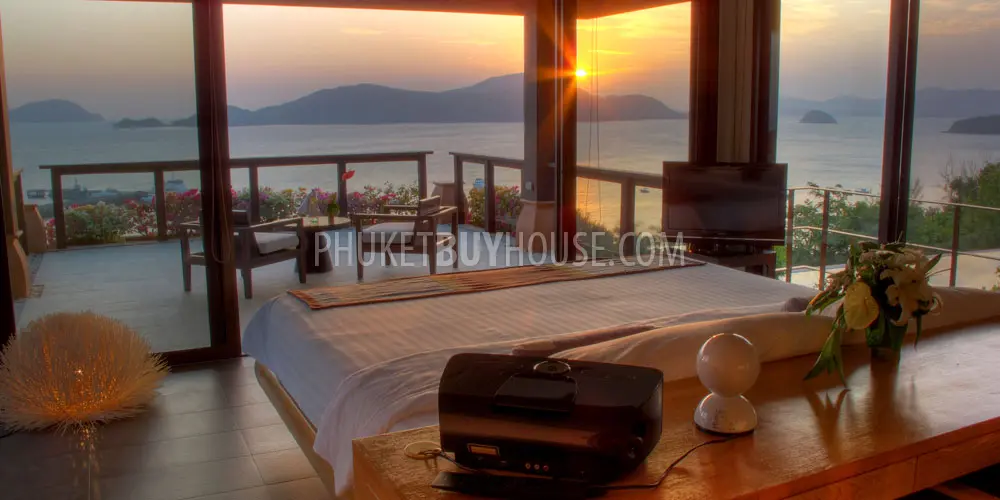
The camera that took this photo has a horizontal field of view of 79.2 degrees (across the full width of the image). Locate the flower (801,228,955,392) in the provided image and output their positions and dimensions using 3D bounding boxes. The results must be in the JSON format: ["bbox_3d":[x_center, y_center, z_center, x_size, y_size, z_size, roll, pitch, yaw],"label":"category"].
[{"bbox_3d":[2.077,0.216,3.328,1.013,0.489,0.682,-19,16,-29],"label":"flower"}]

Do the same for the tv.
[{"bbox_3d":[2.298,-0.468,6.068,1.111,0.644,0.268,1,5,8],"label":"tv"}]

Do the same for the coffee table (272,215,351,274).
[{"bbox_3d":[-2.277,-0.061,7.376,0.938,0.572,0.854,-3,0,-9],"label":"coffee table"}]

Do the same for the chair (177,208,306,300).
[{"bbox_3d":[-2.916,-0.029,6.993,1.099,0.810,1.073,2,9,12],"label":"chair"}]

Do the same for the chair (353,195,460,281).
[{"bbox_3d":[-1.208,-0.112,7.492,1.103,0.770,0.981,0,-1,-14],"label":"chair"}]
